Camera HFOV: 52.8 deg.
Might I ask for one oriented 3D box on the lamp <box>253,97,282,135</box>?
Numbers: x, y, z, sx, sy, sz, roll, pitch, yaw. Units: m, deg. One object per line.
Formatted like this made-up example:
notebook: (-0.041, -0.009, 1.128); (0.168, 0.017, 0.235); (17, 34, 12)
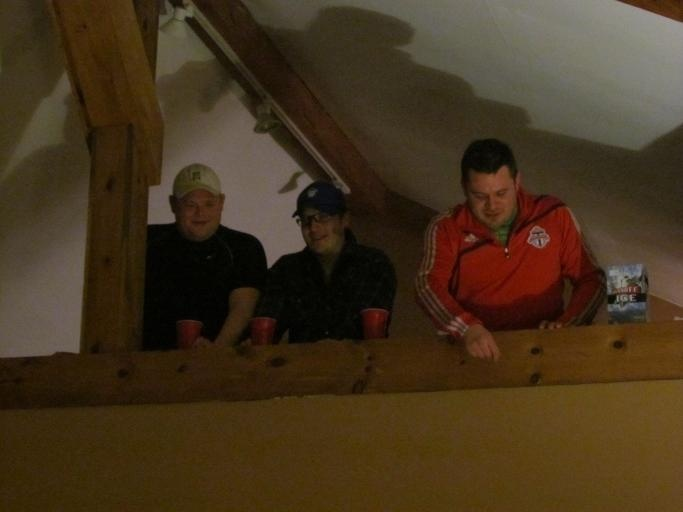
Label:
lamp: (-0.501, -0.922, 4.569); (0.110, 0.185, 0.239); (3, -21, -21)

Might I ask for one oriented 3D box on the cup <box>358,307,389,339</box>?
cup: (0.132, 0.312, 2.984); (0.112, 0.132, 0.120); (0, -24, 0)

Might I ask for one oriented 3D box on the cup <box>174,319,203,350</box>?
cup: (-0.672, 0.367, 3.055); (0.103, 0.125, 0.115); (-1, -35, 10)

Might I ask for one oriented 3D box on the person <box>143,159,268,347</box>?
person: (-0.816, 0.051, 3.854); (0.619, 0.898, 0.986); (3, -6, -5)

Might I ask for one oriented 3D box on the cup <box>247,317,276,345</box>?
cup: (-0.352, 0.346, 3.031); (0.100, 0.121, 0.107); (0, -14, 0)
